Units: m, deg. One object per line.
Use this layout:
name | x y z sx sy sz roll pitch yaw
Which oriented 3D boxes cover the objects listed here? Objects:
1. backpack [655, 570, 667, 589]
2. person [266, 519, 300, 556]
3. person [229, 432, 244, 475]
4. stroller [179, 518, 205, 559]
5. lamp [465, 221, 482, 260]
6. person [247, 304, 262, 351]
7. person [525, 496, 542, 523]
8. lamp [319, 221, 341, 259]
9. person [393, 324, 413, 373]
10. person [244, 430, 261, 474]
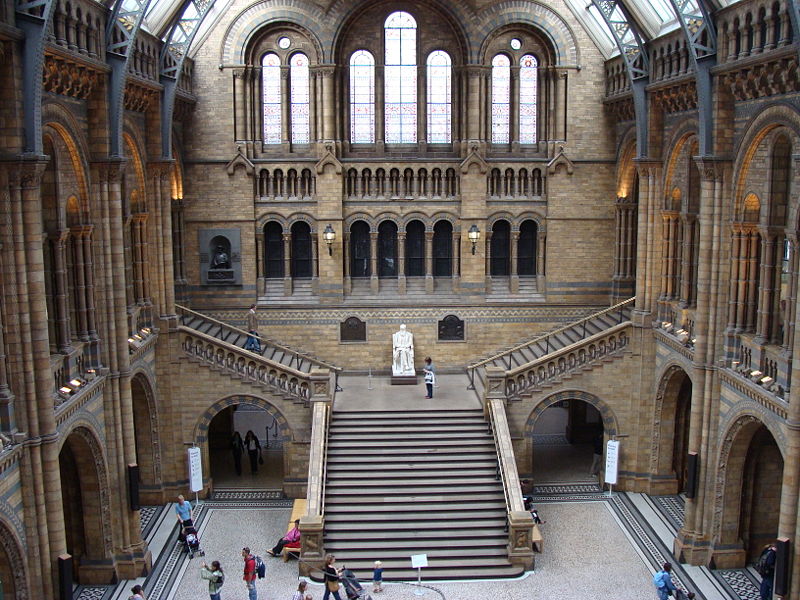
backpack | 6.976 7.522 20.054 0.303 0.488 0.295 1 3 10
person | -3.395 7.483 23.319 1.237 0.984 0.685 2 3 33
person | -6.430 5.973 29.632 0.428 1.648 1.092 -1 3 -13
stroller | -6.563 7.472 23.725 0.565 0.986 1.384 -2 12 -25
lamp | 3.011 -2.467 31.029 0.610 1.386 0.635 1 3 23
person | -5.857 1.163 30.138 0.494 1.675 1.559 0 3 -11
person | 4.543 7.001 25.509 0.575 0.866 1.943 1 3 10
lamp | -2.898 -2.421 30.637 0.699 1.402 0.787 1 3 18
person | 0.133 2.045 30.044 0.846 2.067 0.571 0 3 -1
person | -5.922 5.985 29.997 0.542 1.543 1.551 0 3 -10
